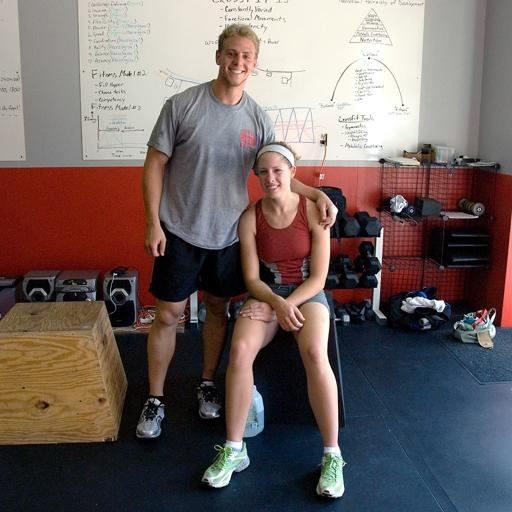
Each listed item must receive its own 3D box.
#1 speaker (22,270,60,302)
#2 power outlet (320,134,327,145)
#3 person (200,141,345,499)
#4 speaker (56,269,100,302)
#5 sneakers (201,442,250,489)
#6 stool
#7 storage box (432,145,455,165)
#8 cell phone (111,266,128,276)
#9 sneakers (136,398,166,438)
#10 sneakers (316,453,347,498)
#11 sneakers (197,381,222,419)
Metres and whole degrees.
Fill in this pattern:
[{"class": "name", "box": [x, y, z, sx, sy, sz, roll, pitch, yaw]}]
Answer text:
[{"class": "speaker", "box": [-1.668, 0.239, 3.488, 0.158, 0.177, 0.305, 0, 0, -9]}, {"class": "power outlet", "box": [0.548, -0.932, 3.629, 0.053, 0.082, 0.020, 0, 6, -4]}, {"class": "person", "box": [0.125, 0.206, 1.889, 0.543, 1.341, 0.633, 2, 10, 12]}, {"class": "speaker", "box": [-1.401, 0.238, 3.529, 0.326, 0.192, 0.352, -3, 11, -17]}, {"class": "sneakers", "box": [-0.118, 0.828, 1.821, 0.092, 0.121, 0.238, -3, 6, 38]}, {"class": "stool", "box": [0.173, 0.423, 2.378, 0.472, 0.623, 0.637, -1, 9, 4]}, {"class": "storage box", "box": [1.526, -0.816, 3.684, 0.170, 0.136, 0.097, -4, 10, -23]}, {"class": "cell phone", "box": [-1.080, 0.116, 3.568, 0.057, 0.034, 0.106, 1, 12, 1]}, {"class": "sneakers", "box": [-0.507, 0.767, 2.181, 0.103, 0.136, 0.293, -1, 2, -1]}, {"class": "sneakers", "box": [0.286, 0.837, 1.724, 0.100, 0.146, 0.114, 2, 10, 11]}, {"class": "sneakers", "box": [-0.238, 0.731, 2.341, 0.114, 0.135, 0.294, 1, 7, -11]}]
